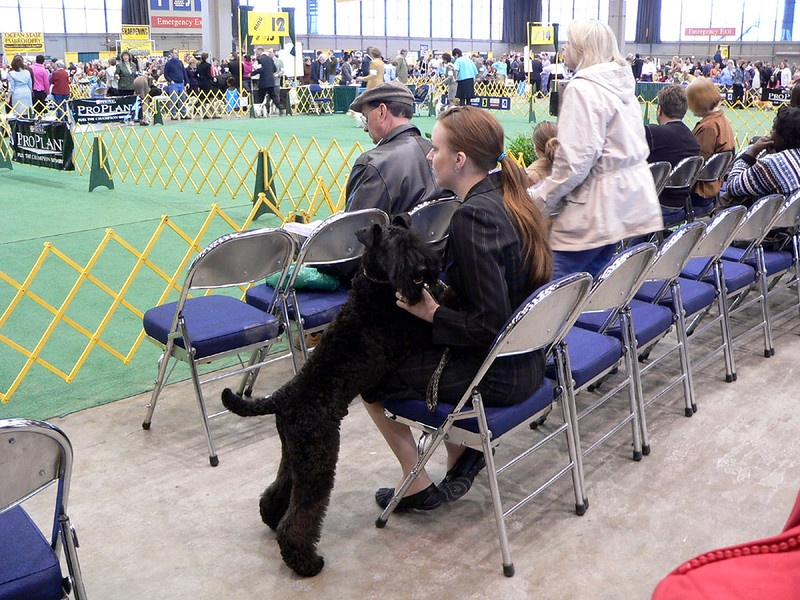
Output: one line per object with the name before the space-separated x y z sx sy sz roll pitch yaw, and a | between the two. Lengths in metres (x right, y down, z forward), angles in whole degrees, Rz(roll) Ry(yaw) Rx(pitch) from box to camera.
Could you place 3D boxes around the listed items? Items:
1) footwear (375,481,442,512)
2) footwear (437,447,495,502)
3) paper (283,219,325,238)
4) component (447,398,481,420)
footwear | 0.038 0.970 3.385 0.283 0.125 0.141 -1 13 4
footwear | 0.343 0.865 3.475 0.148 0.382 0.101 34 -9 19
paper | -0.661 -0.486 4.627 0.252 0.072 0.257 8 12 35
component | 0.283 0.465 2.907 0.091 0.049 0.122 -7 5 10
